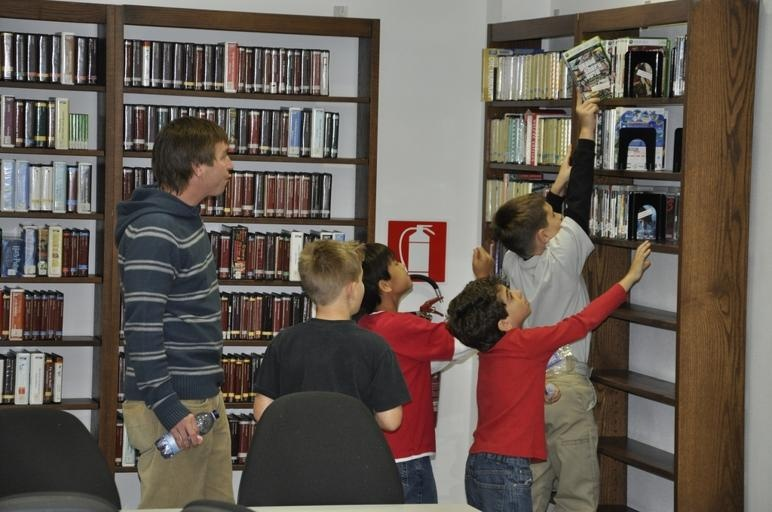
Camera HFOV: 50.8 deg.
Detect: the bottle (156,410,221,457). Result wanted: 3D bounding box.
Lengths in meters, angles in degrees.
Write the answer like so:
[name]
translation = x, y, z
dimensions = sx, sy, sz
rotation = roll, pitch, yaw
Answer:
[bottle]
translation = -0.964, 0.870, 3.988
dimensions = 0.321, 0.213, 0.171
rotation = -3, 4, -24
